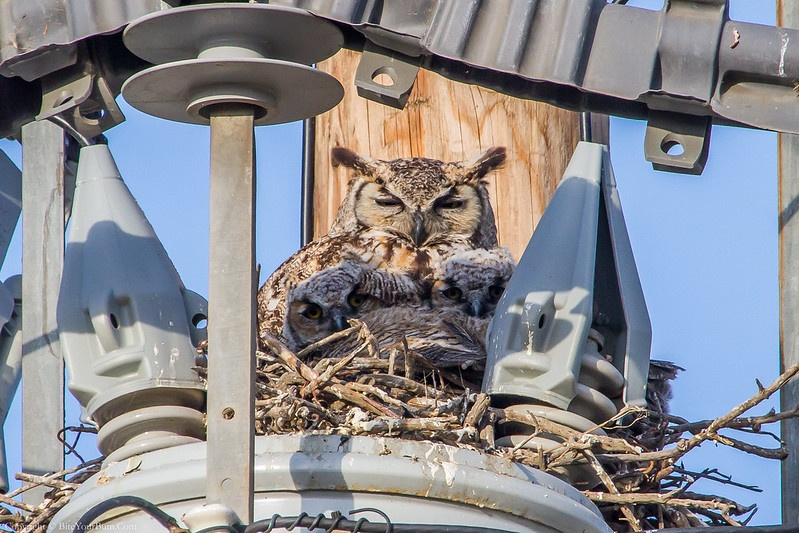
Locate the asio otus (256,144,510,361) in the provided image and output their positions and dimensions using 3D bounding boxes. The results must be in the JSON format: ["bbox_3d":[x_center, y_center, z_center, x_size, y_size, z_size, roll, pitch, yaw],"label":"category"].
[{"bbox_3d":[0.029,0.033,10.280,1.092,1.042,0.797,3,-11,-4],"label":"asio otus"}]
